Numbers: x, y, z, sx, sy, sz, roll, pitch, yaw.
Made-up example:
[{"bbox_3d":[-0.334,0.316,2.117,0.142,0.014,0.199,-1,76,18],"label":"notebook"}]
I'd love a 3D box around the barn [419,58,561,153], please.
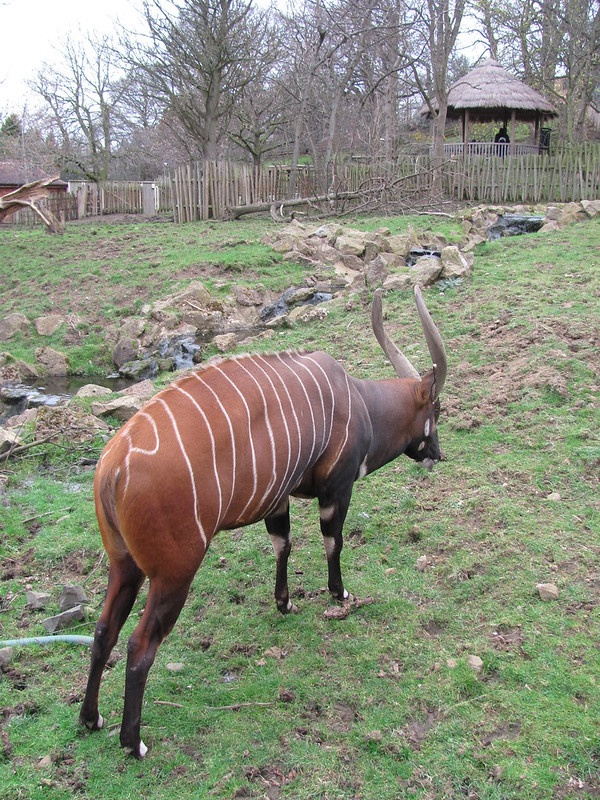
[{"bbox_3d":[6.326,-9.945,23.054,4.007,2.590,3.753,10,18,27],"label":"barn"}]
